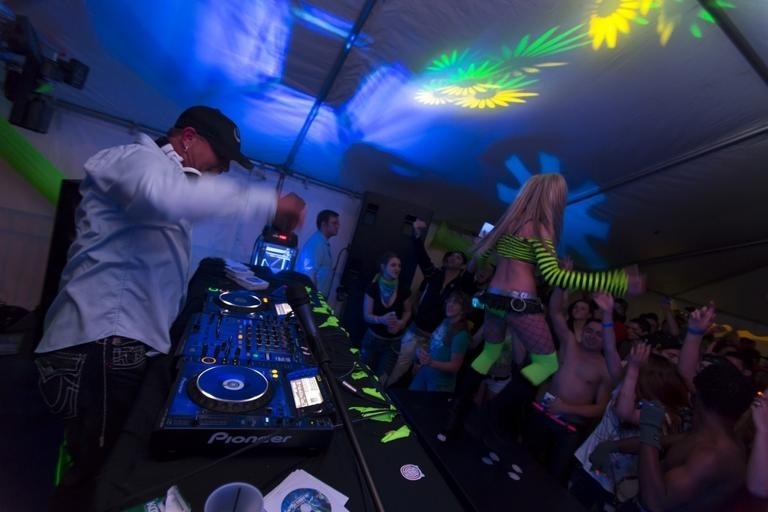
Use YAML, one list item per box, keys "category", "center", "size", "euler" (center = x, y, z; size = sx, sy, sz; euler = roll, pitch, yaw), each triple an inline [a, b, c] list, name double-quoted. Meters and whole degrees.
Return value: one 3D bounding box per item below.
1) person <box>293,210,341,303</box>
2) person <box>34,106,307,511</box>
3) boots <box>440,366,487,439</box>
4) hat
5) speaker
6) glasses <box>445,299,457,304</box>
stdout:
- category: "person"
  center: [-1.019, -0.068, 6.358]
  size: [0.502, 1.517, 0.782]
  euler: [2, 39, -14]
- category: "person"
  center: [-1.704, 0.180, 2.956]
  size: [1.038, 2.588, 0.759]
  euler: [10, 1, -28]
- category: "boots"
  center: [0.634, 1.233, 3.456]
  size: [0.206, 0.600, 0.151]
  euler: [14, 2, 5]
- category: "hat"
  center: [-1.325, -0.965, 3.303]
  size: [0.609, 0.339, 0.392]
  euler: [18, -1, -21]
- category: "speaker"
  center: [-0.044, -0.469, 7.367]
  size: [1.011, 1.763, 1.342]
  euler: [11, 29, -12]
- category: "glasses"
  center: [0.789, 0.538, 4.987]
  size: [0.133, 0.062, 0.129]
  euler: [0, -1, 24]
